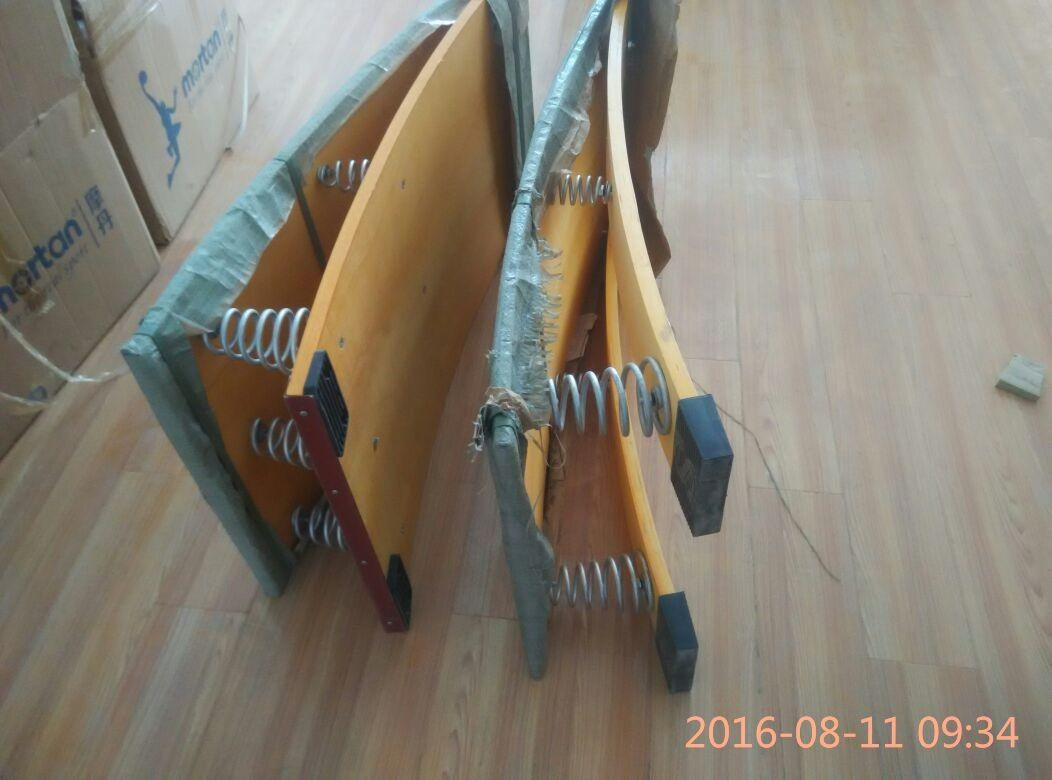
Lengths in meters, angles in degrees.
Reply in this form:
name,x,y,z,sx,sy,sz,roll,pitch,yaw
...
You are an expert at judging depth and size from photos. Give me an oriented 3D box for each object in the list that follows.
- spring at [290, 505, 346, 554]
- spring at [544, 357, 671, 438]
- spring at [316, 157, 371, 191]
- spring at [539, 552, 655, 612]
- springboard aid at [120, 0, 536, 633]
name,x,y,z,sx,sy,sz,roll,pitch,yaw
spring,-0.462,0.305,1.704,0.060,0.108,0.119,-24,-3,3
spring,0.156,0.010,1.405,0.208,0.183,0.083,6,8,30
spring,-0.406,-0.481,1.715,0.113,0.042,0.087,0,25,9
spring,0.173,0.414,1.655,0.284,0.139,0.103,-7,23,27
springboard aid,-0.436,-0.195,1.820,0.421,0.813,1.079,2,47,8
